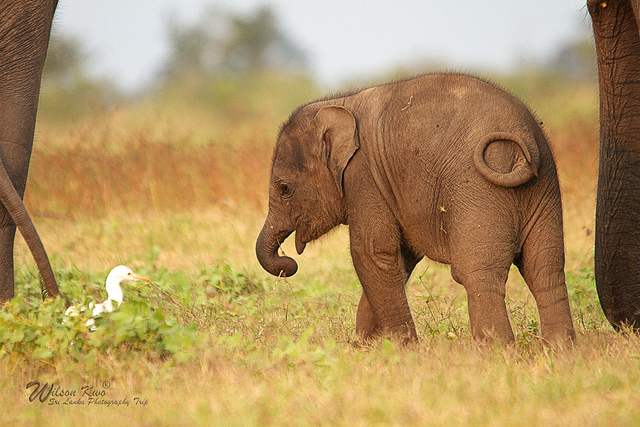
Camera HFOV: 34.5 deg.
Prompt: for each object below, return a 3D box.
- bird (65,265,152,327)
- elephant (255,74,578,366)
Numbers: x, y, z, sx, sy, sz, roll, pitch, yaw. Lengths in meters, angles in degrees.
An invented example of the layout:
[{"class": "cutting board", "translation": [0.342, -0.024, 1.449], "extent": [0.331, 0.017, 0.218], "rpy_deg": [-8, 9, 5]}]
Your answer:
[{"class": "bird", "translation": [-1.673, 0.678, 8.170], "extent": [0.686, 0.561, 0.260], "rpy_deg": [-3, -31, 11]}, {"class": "elephant", "translation": [0.678, 0.075, 8.572], "extent": [2.677, 2.273, 1.132], "rpy_deg": [-1, 4, 29]}]
